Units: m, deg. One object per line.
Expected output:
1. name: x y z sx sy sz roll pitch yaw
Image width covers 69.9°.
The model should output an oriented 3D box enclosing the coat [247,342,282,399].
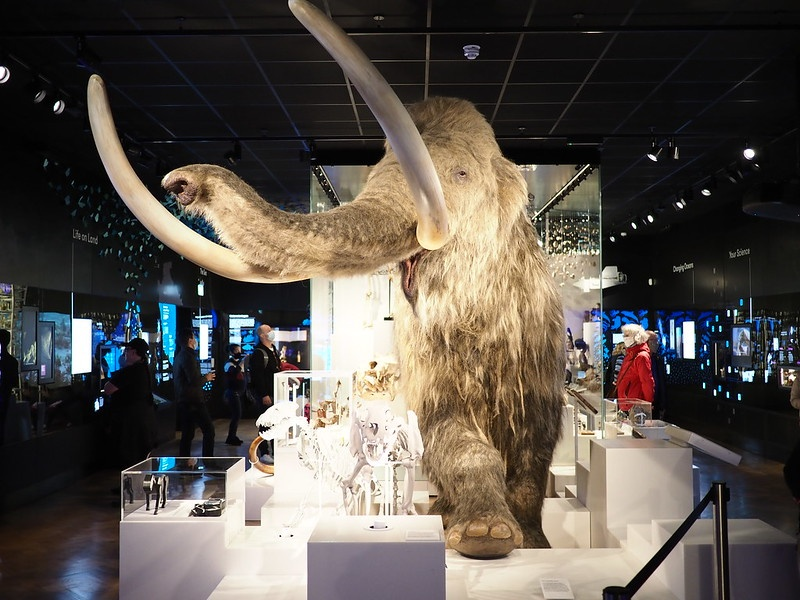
1. coat: -1.674 0.858 7.031 0.363 0.673 0.621 -6 -4 -3

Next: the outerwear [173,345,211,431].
1. outerwear: -2.339 1.062 6.418 0.353 1.133 0.418 -1 7 -44

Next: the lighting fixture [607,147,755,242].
1. lighting fixture: 3.880 -1.472 7.807 0.258 0.381 2.448 -14 -14 -31

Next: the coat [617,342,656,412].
1. coat: 2.559 0.778 6.261 0.327 0.716 0.717 4 2 -4

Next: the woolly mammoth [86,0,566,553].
1. woolly mammoth: -0.038 0.082 3.203 1.001 2.823 2.316 -4 -7 43
